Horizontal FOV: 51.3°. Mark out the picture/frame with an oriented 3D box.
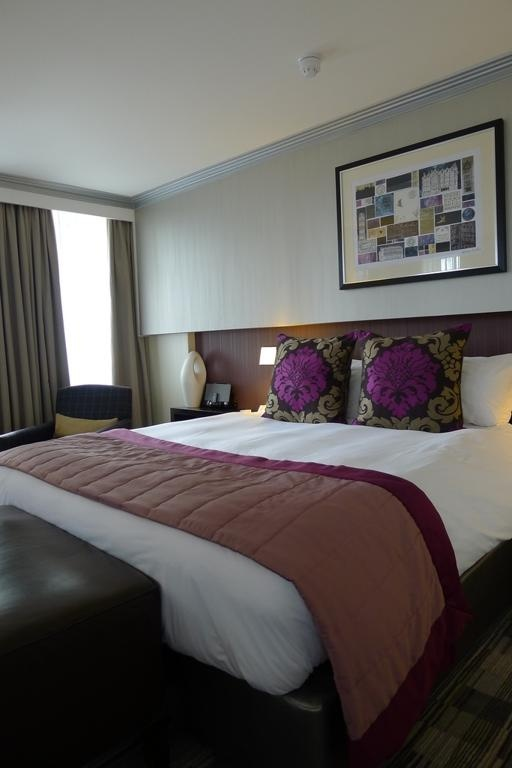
[{"bbox_3d":[0.888,-0.956,2.809,0.037,0.776,1.024,-1,0,-42],"label":"picture/frame"}]
